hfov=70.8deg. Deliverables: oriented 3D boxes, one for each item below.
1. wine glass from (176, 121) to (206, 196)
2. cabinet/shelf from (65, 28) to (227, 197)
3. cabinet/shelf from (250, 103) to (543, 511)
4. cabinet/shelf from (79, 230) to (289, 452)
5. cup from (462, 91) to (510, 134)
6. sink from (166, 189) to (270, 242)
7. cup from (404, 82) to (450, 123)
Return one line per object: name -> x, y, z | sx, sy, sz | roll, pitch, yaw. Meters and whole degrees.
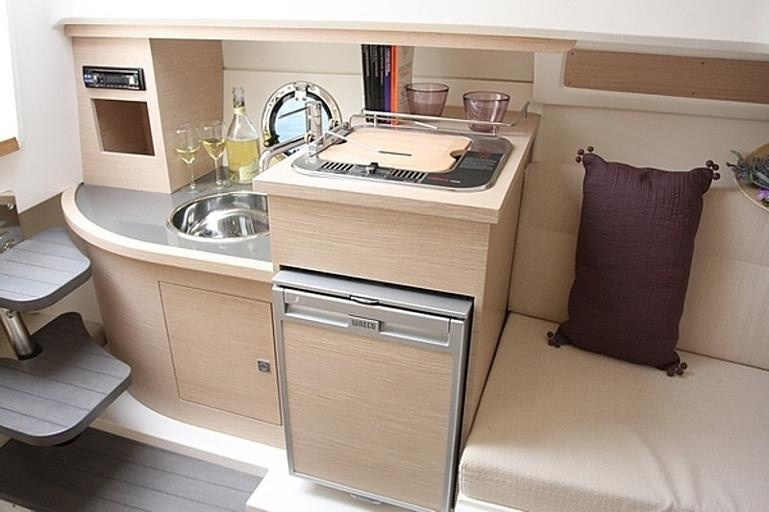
wine glass -> -0.813, -0.413, 2.212 | 0.096, 0.270, 0.217 | -10, 31, -19
cabinet/shelf -> -1.002, -0.642, 2.383 | 0.662, 0.571, 0.613 | -9, 23, -27
cabinet/shelf -> 0.006, 0.167, 1.838 | 0.751, 1.115, 0.716 | 10, 31, 14
cabinet/shelf -> -0.720, 0.297, 1.964 | 0.813, 0.622, 0.405 | 9, 36, 15
cup -> 0.344, -0.496, 1.908 | 0.192, 0.119, 0.177 | 0, 30, 0
sink -> -0.685, -0.162, 2.299 | 0.459, 0.146, 0.428 | -8, -1, -17
cup -> 0.148, -0.557, 2.001 | 0.186, 0.101, 0.159 | 4, 31, 9
